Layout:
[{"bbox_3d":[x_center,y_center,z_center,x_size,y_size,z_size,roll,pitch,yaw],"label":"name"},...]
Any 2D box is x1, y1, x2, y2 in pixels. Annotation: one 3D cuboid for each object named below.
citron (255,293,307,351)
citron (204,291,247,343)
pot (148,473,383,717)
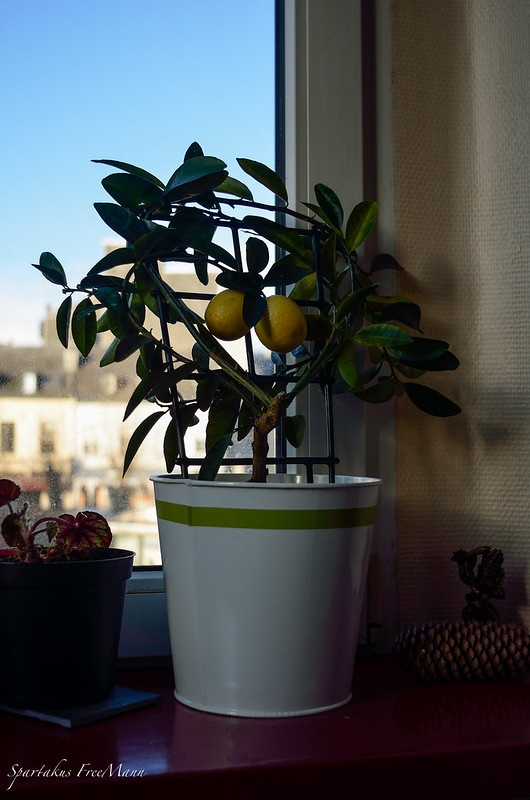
[{"bbox_3d":[0.015,-0.074,0.880,0.047,0.055,0.050,0,12,-9],"label":"citron"},{"bbox_3d":[-0.031,-0.079,0.858,0.029,0.049,0.061,-7,15,-36],"label":"citron"},{"bbox_3d":[-0.002,0.180,0.918,0.218,0.181,0.208,-1,-5,0],"label":"pot"}]
